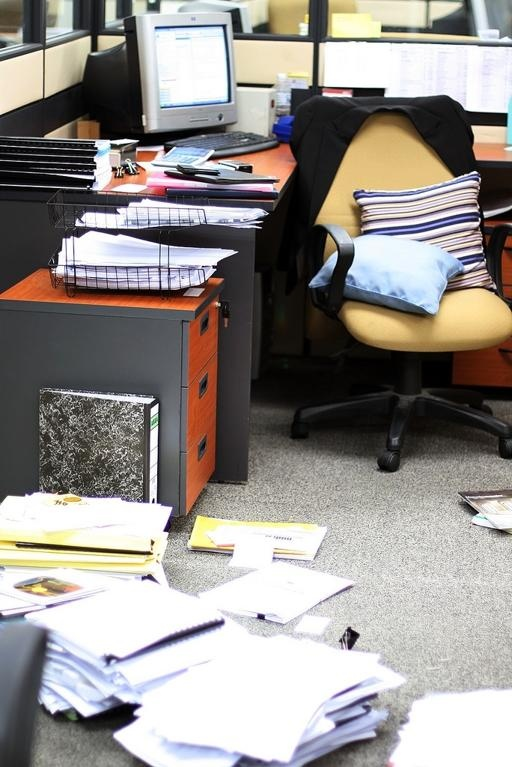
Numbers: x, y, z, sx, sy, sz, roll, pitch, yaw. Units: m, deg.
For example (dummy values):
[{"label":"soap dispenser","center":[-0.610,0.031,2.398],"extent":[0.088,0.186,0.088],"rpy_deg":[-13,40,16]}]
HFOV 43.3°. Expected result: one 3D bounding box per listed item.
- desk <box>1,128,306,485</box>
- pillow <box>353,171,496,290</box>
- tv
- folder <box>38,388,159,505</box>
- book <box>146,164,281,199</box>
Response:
[{"label":"desk","center":[-0.185,-0.214,2.359],"extent":[1.042,1.207,1.345],"rpy_deg":[1,20,5]},{"label":"pillow","center":[0.525,-0.482,2.046],"extent":[0.417,0.385,0.141],"rpy_deg":[-4,-7,-3]},{"label":"tv","center":[-0.357,-1.091,2.490],"extent":[0.552,0.406,0.525],"rpy_deg":[7,20,20]},{"label":"folder","center":[-0.349,0.141,1.432],"extent":[0.250,0.238,0.104],"rpy_deg":[3,8,12]},{"label":"book","center":[-0.115,-0.537,1.743],"extent":[0.352,0.063,0.184],"rpy_deg":[2,21,2]}]
